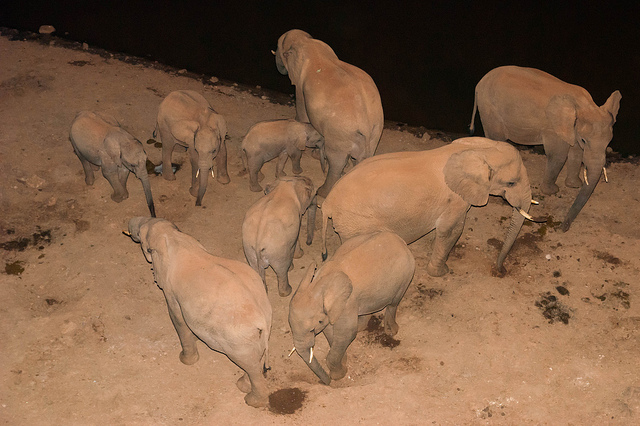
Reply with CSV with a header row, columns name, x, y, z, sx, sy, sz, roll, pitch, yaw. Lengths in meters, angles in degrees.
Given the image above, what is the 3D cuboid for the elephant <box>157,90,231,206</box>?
name,x,y,z,sx,sy,sz,roll,pitch,yaw
elephant,-2.071,-1.175,10.690,0.906,1.260,2.242,-14,48,-22

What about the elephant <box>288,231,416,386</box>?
name,x,y,z,sx,sy,sz,roll,pitch,yaw
elephant,0.411,1.316,9.248,1.006,1.923,2.253,29,48,35

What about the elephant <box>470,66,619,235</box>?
name,x,y,z,sx,sy,sz,roll,pitch,yaw
elephant,3.947,-1.354,11.114,1.430,1.983,2.923,-22,41,-27

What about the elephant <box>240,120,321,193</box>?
name,x,y,z,sx,sy,sz,roll,pitch,yaw
elephant,-0.581,-1.059,11.133,1.622,1.094,0.739,-16,37,-25
